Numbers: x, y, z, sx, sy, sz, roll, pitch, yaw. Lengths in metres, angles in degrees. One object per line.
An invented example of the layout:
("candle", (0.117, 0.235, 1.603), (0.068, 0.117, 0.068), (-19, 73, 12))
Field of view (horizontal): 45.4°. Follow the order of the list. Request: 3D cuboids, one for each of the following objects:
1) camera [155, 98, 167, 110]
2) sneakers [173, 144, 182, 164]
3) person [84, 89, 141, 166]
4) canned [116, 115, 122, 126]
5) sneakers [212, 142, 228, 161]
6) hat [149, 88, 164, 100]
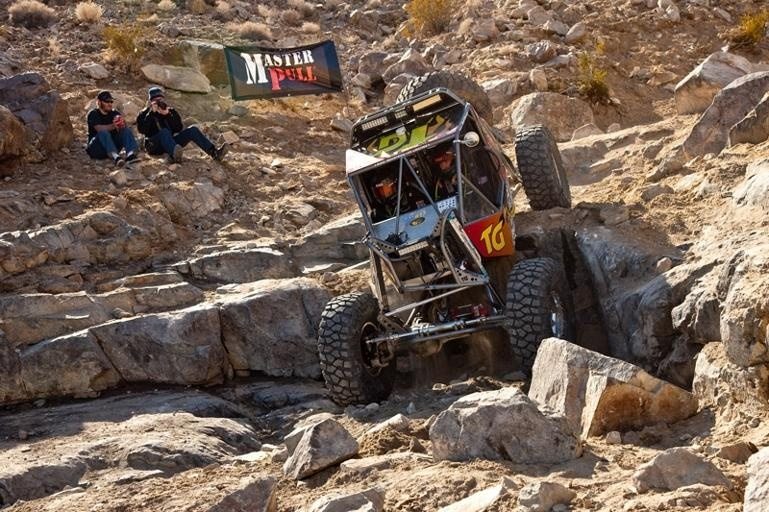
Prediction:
("camera", (-5.029, -3.369, 20.625), (0.184, 0.272, 0.329), (-8, 1, 15))
("sneakers", (-4.626, -2.251, 20.537), (0.158, 0.424, 0.183), (2, 12, -13))
("person", (-5.973, -2.813, 20.283), (0.826, 1.572, 1.572), (-10, 20, -39))
("canned", (-5.825, -2.974, 20.269), (0.129, 0.181, 0.174), (3, 6, 0))
("sneakers", (-3.797, -2.313, 21.147), (0.230, 0.197, 0.533), (24, -54, -18))
("hat", (-5.145, -3.625, 20.652), (0.292, 0.308, 0.599), (-9, 1, -16))
